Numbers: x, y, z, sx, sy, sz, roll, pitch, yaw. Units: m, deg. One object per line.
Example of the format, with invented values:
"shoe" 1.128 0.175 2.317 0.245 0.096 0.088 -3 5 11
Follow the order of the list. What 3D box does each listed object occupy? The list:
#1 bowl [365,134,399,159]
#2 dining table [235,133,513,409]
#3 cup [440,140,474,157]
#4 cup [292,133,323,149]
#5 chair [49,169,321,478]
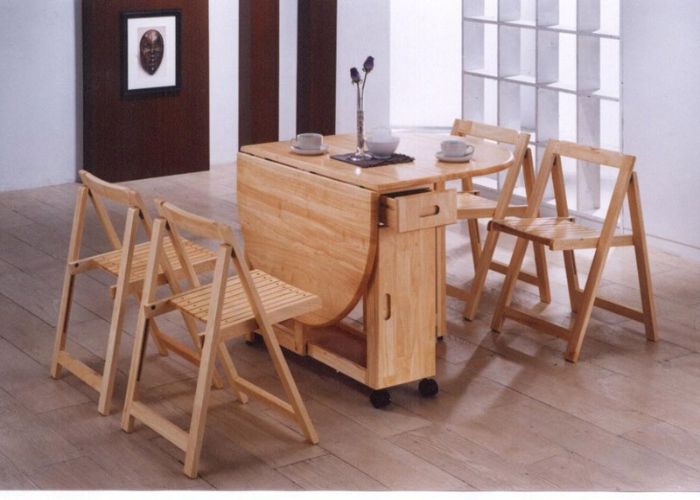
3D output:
"bowl" 0.150 -0.473 2.792 0.138 0.072 0.131 0 10 0
"dining table" 0.178 0.086 3.195 1.145 0.983 1.335 -4 14 -28
"cup" 0.489 -0.460 2.811 0.121 0.050 0.095 -4 11 -26
"cup" -0.200 -0.519 2.926 0.127 0.050 0.093 -1 15 7
"chair" -0.714 0.363 2.700 0.655 0.952 1.181 -17 26 -41
